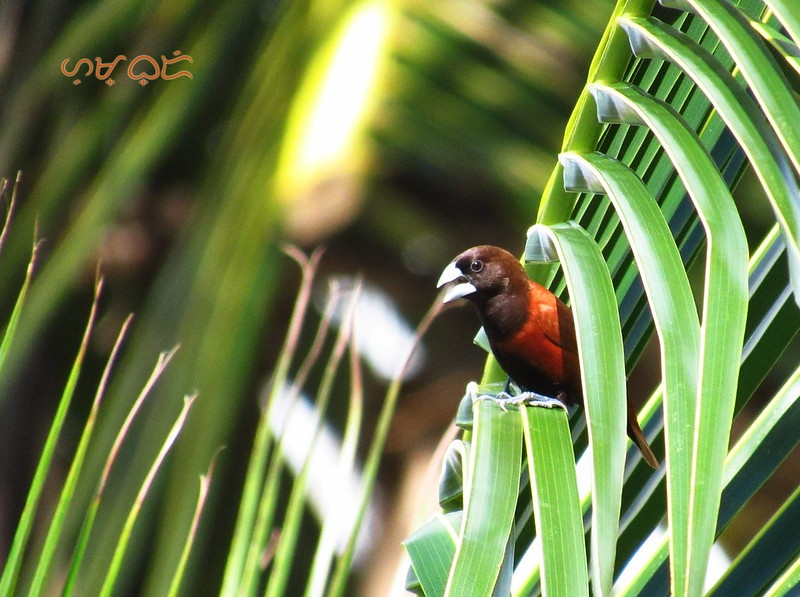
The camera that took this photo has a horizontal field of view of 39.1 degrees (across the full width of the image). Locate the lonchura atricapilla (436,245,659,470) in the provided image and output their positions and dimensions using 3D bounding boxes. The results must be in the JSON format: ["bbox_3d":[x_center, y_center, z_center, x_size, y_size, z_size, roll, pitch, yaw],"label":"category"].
[{"bbox_3d":[0.290,0.069,2.190,0.503,0.327,0.181,1,2,-34],"label":"lonchura atricapilla"}]
